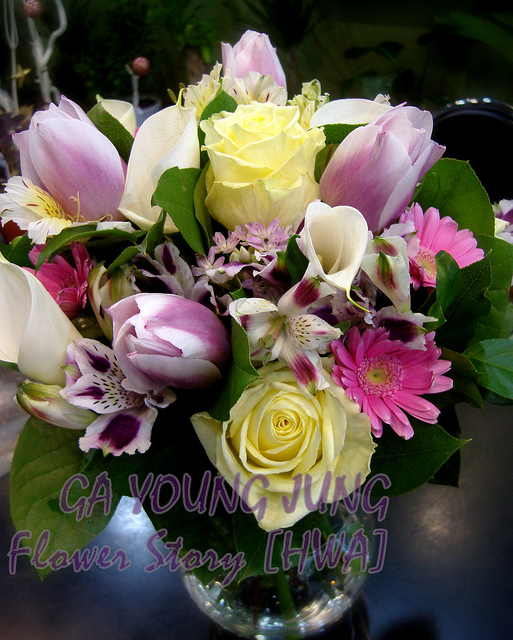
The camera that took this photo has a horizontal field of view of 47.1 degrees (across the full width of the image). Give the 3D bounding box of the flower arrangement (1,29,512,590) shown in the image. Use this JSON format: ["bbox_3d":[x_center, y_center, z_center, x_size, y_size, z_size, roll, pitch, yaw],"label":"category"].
[{"bbox_3d":[-0.011,0.005,0.550,0.438,0.330,0.354,0,78,-4],"label":"flower arrangement"}]
